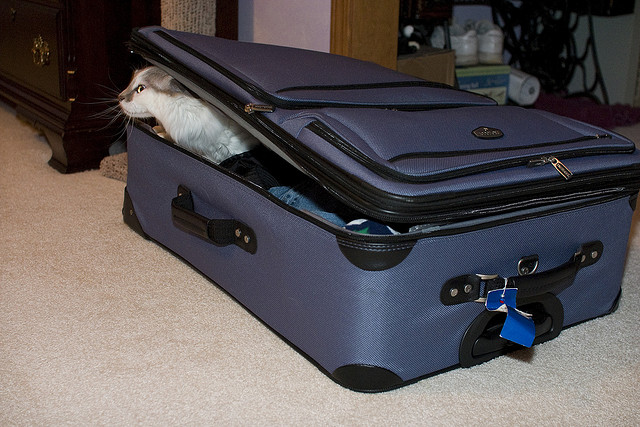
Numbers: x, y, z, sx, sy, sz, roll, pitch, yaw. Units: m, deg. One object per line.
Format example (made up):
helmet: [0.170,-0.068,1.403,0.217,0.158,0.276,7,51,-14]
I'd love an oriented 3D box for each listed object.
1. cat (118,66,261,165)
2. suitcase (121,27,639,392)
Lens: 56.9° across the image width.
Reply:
cat: [-0.357,-0.258,1.620,0.325,0.144,0.248,18,35,-8]
suitcase: [0.039,-0.096,1.493,0.761,0.509,1.128,-16,32,-34]
